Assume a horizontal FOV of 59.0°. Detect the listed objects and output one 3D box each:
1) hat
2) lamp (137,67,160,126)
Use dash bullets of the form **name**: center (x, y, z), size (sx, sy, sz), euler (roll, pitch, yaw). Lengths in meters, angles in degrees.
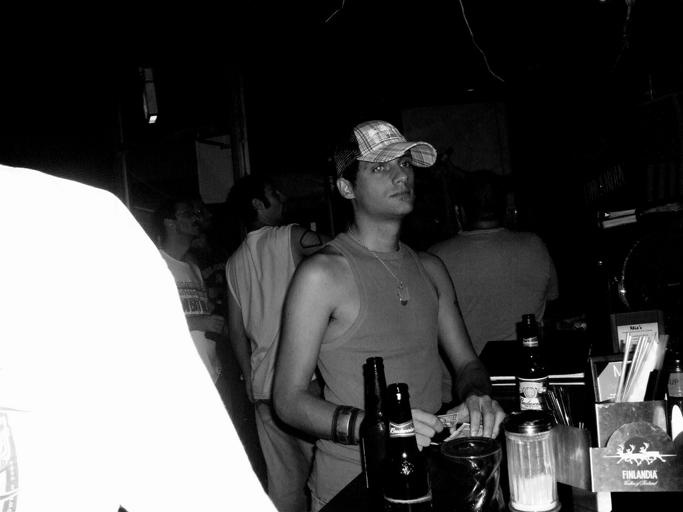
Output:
- **hat**: center (0.161, -0.398, 2.185), size (0.354, 0.186, 0.238), euler (-16, -1, 36)
- **lamp**: center (-1.417, -1.180, 4.444), size (0.127, 0.423, 0.370), euler (1, -5, -19)
